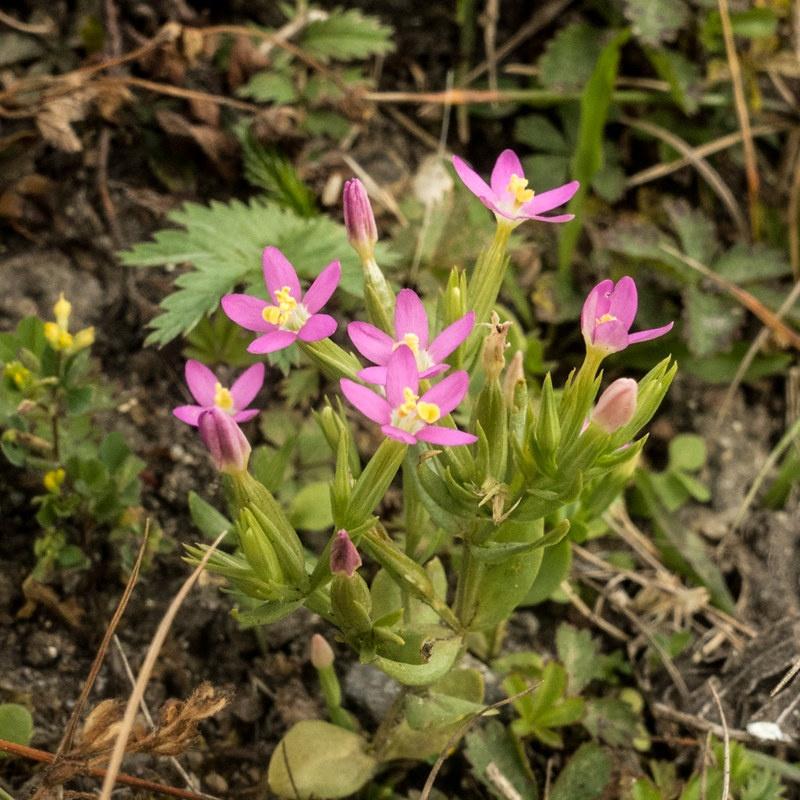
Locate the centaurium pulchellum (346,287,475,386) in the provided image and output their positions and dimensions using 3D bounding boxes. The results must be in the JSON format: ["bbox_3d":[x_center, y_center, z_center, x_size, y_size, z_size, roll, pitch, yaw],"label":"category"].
[{"bbox_3d":[0.012,-0.123,1.815,0.249,0.102,0.205,-4,50,-4],"label":"centaurium pulchellum"}]
